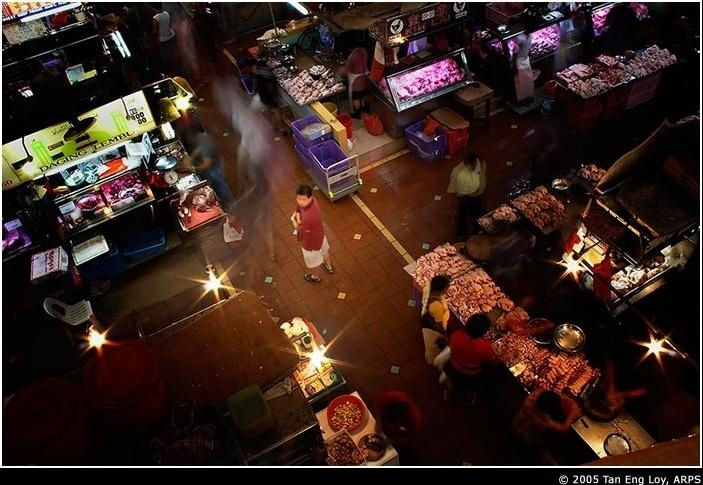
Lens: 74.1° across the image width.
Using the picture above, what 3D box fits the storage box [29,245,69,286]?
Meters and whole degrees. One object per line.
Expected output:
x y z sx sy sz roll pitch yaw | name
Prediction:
-5.893 0.428 9.096 0.659 0.179 0.624 -13 56 -1 | storage box

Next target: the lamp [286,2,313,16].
-1.685 -7.734 15.375 0.200 0.386 1.971 -34 42 -5 | lamp

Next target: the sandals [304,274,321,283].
-0.840 0.763 10.025 0.311 0.125 0.157 10 62 5 | sandals

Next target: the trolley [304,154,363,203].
-0.439 -1.907 11.392 0.800 0.943 1.475 -25 54 -17 | trolley

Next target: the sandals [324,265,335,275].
-0.479 0.560 10.127 0.099 0.099 0.278 -31 56 -6 | sandals
